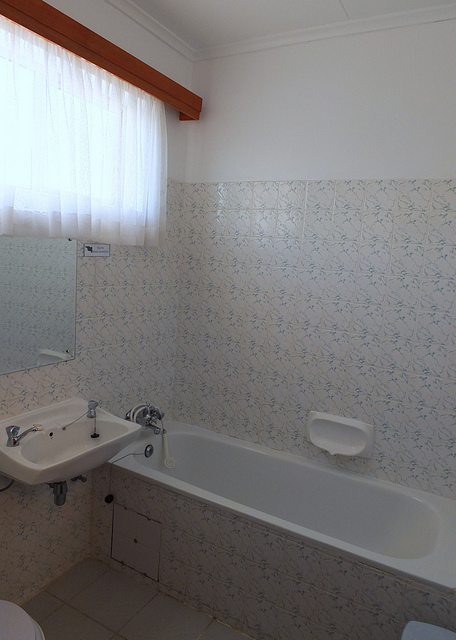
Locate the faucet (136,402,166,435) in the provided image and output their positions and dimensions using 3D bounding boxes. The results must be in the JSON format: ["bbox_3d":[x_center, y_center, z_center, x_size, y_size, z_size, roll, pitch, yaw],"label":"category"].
[{"bbox_3d":[-0.440,0.550,2.834,0.051,0.146,0.155,-37,-21,36],"label":"faucet"}]

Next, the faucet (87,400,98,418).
[{"bbox_3d":[-0.615,0.401,2.301,0.042,0.075,0.078,2,11,-14],"label":"faucet"}]
